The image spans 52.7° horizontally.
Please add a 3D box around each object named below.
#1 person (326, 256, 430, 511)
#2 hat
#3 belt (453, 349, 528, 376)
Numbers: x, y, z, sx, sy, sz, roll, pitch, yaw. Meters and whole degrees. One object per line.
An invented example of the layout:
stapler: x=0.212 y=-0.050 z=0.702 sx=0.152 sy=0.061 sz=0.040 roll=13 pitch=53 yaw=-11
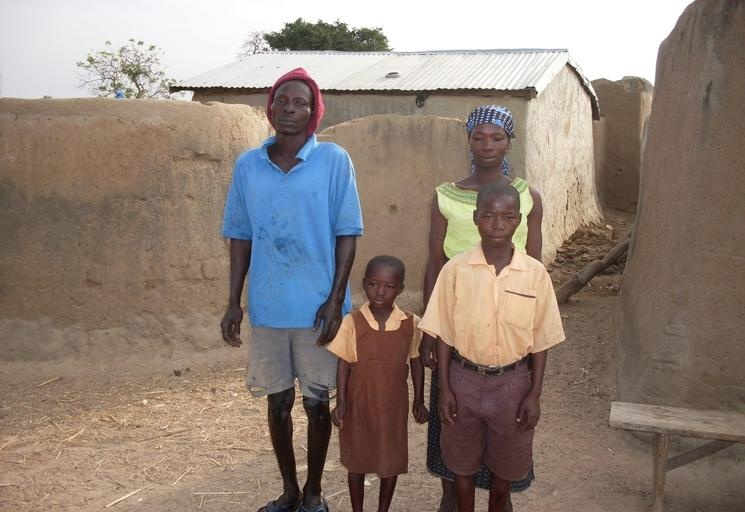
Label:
person: x=0.024 y=0.833 z=4.851 sx=0.620 sy=1.643 sz=0.357 roll=-1 pitch=11 yaw=-9
hat: x=-0.469 y=-1.053 z=5.025 sx=0.378 sy=0.496 sz=0.442 roll=5 pitch=12 yaw=0
belt: x=0.709 y=0.666 z=4.600 sx=0.438 sy=0.115 sz=0.098 roll=2 pitch=10 yaw=7
